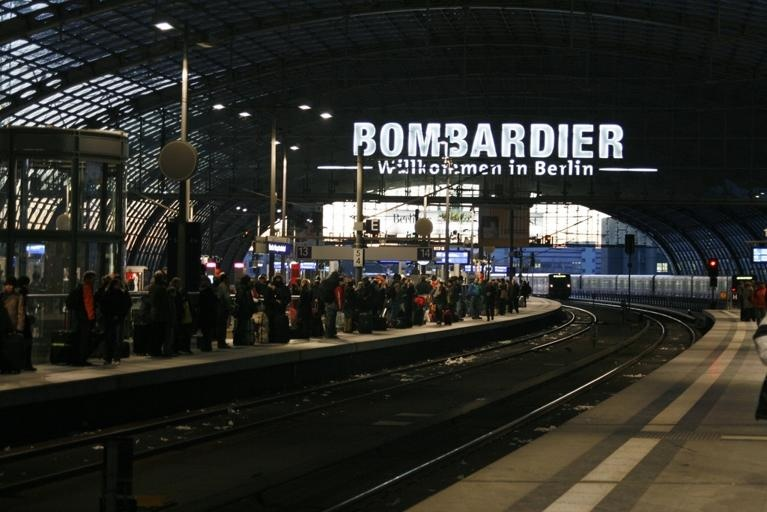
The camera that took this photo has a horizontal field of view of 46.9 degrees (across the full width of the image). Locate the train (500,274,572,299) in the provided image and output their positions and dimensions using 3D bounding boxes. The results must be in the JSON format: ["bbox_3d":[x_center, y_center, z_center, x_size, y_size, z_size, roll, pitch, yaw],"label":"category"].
[{"bbox_3d":[14.331,2.735,80.278,3.446,2.934,11.237,1,2,-5],"label":"train"}]
